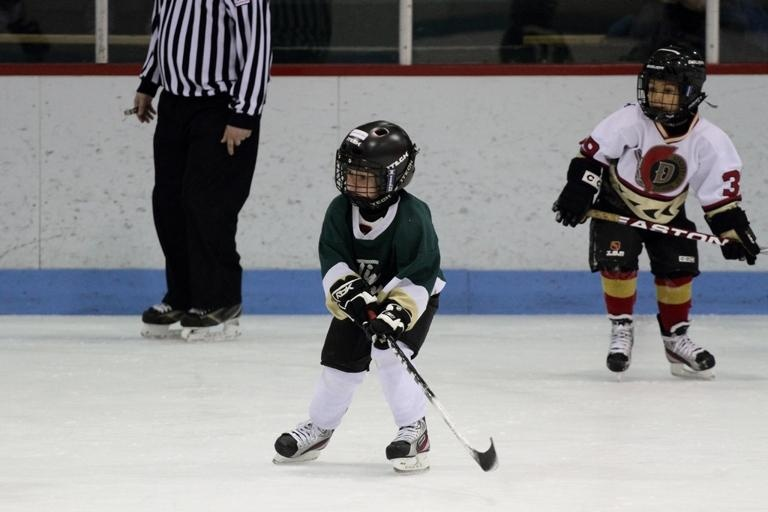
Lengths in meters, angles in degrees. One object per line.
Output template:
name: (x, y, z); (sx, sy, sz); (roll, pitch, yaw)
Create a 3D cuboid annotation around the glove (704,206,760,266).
glove: (1.461, -0.092, 4.426); (0.259, 0.224, 0.102); (-22, 2, 3)

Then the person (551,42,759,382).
person: (1.139, -0.184, 4.412); (0.846, 1.349, 0.418); (2, 12, 7)

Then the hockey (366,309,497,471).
hockey: (0.165, 0.491, 3.777); (0.087, 0.104, 0.713); (30, 18, -46)

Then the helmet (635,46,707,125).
helmet: (1.201, -0.709, 4.477); (0.299, 0.301, 0.362); (2, 5, 42)

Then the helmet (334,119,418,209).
helmet: (-0.037, -0.308, 3.563); (0.336, 0.247, 0.249); (-13, 23, -40)

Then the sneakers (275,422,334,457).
sneakers: (-0.244, 0.593, 3.522); (0.085, 0.074, 0.222); (-36, -12, 32)

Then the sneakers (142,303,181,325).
sneakers: (-1.085, 0.271, 5.107); (0.197, 0.070, 0.086); (5, -8, -30)

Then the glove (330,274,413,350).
glove: (-0.044, 0.175, 3.494); (0.272, 0.177, 0.098); (45, -8, 16)

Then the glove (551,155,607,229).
glove: (0.838, -0.258, 4.472); (0.211, 0.302, 0.098); (21, 3, 20)
